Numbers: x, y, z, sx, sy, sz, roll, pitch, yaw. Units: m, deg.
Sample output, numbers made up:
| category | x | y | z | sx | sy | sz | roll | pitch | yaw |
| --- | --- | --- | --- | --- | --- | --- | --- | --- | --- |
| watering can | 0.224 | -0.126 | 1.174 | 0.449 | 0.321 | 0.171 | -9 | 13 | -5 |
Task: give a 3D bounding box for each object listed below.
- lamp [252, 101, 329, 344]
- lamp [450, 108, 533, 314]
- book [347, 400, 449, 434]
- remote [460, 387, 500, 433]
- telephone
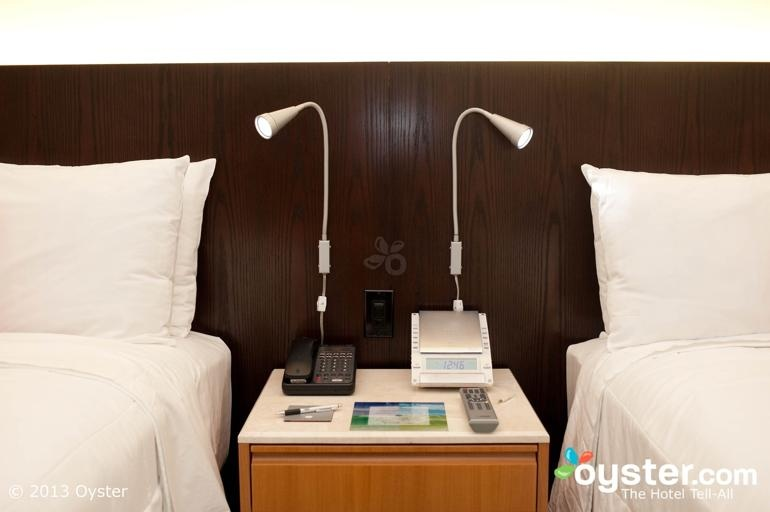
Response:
| category | x | y | z | sx | sy | sz | roll | pitch | yaw |
| --- | --- | --- | --- | --- | --- | --- | --- | --- | --- |
| lamp | -0.317 | -0.125 | 1.952 | 0.231 | 0.901 | 0.326 | 1 | 0 | -3 |
| lamp | 0.374 | -0.173 | 1.985 | 0.294 | 0.754 | 0.241 | 1 | 0 | 15 |
| book | 0.043 | 0.521 | 1.766 | 0.310 | 0.006 | 0.189 | -3 | 7 | -2 |
| remote | 0.301 | 0.501 | 1.802 | 0.092 | 0.061 | 0.229 | -1 | 14 | -1 |
| telephone | -0.228 | 0.398 | 2.001 | 0.248 | 0.126 | 0.339 | 1 | 10 | -1 |
